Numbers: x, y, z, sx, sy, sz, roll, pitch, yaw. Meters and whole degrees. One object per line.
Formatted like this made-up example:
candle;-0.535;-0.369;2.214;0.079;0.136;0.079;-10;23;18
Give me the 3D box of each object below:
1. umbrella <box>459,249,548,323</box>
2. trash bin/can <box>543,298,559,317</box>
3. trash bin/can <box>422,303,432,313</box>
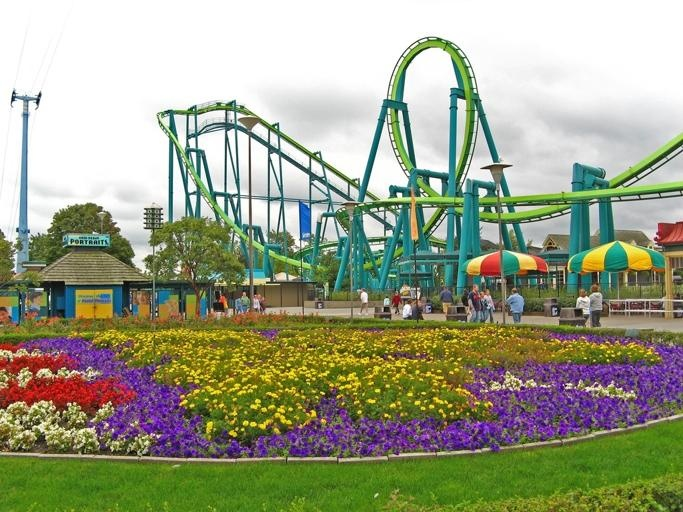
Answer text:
umbrella;7.163;0.421;37.400;2.690;1.912;2.744;1;3;34
trash bin/can;9.142;2.277;37.946;0.321;0.685;0.783;-2;-1;31
trash bin/can;4.222;2.722;44.267;0.407;0.424;0.766;-3;-6;9
